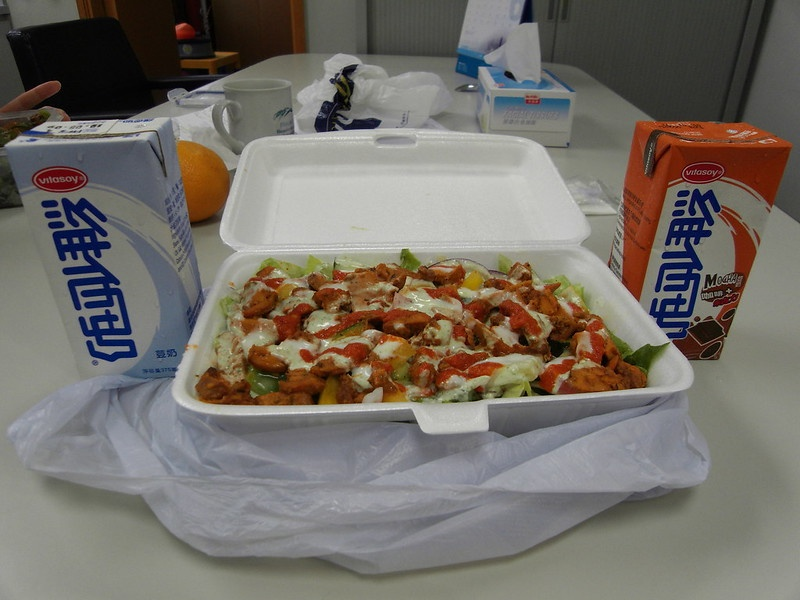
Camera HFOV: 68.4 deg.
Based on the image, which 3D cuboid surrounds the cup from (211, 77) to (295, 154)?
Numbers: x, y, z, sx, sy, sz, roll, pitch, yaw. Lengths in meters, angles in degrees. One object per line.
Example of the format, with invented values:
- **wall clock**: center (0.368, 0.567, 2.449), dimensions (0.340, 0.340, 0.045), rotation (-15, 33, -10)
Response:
- **cup**: center (-0.329, -0.442, 1.448), dimensions (0.149, 0.161, 0.236), rotation (13, 36, 22)

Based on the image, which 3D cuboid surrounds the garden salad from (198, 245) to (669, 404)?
- **garden salad**: center (0.026, 0.052, 0.807), dimensions (0.383, 0.051, 0.269), rotation (-1, 38, -1)

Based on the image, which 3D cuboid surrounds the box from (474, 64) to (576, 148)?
- **box**: center (0.366, -0.492, 1.718), dimensions (0.239, 0.148, 0.321), rotation (5, 4, 11)
